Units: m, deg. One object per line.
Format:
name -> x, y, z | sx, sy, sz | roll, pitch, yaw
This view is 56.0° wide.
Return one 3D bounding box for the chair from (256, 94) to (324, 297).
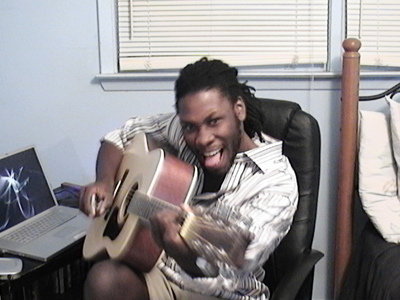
chair -> 0.295, 0.179, 1.272 | 0.230, 0.712, 0.338 | 1, 7, 13
